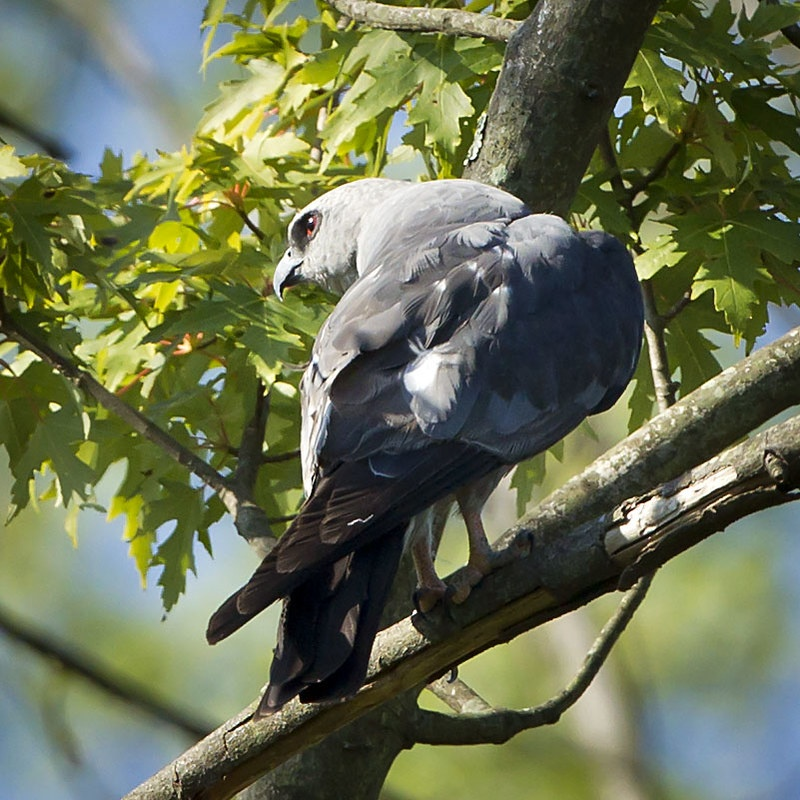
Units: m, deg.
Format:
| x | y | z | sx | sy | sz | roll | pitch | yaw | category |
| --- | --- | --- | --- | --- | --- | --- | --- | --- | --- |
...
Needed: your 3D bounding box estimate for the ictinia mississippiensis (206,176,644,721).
| x | y | z | sx | sy | sz | roll | pitch | yaw | category |
| --- | --- | --- | --- | --- | --- | --- | --- | --- | --- |
| 0.070 | -0.048 | 3.494 | 0.846 | 1.054 | 1.608 | -7 | 6 | 23 | ictinia mississippiensis |
